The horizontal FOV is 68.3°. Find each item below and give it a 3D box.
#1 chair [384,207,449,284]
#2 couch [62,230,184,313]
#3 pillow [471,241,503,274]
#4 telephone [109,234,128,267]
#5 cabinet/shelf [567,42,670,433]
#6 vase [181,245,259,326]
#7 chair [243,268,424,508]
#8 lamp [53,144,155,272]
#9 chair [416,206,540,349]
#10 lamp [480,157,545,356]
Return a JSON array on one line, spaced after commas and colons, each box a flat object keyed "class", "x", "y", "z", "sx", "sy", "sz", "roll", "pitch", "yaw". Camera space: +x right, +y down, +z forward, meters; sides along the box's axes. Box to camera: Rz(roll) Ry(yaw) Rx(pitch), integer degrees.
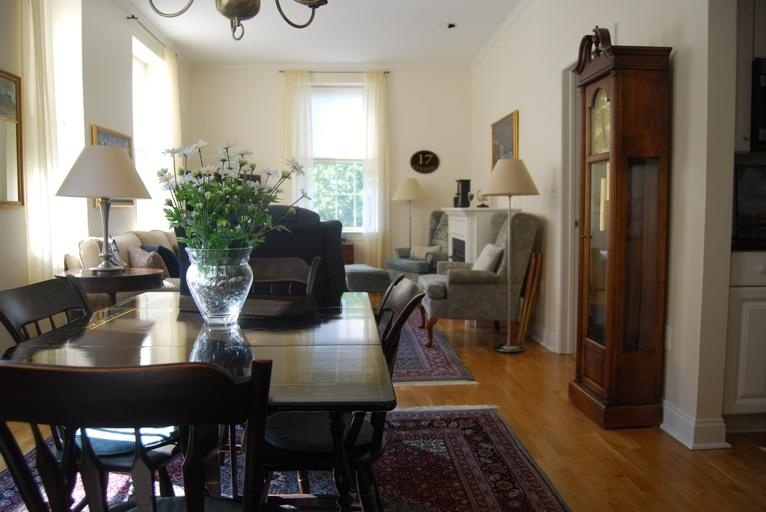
[{"class": "chair", "x": 0.552, "y": -0.150, "z": 7.734, "sx": 0.983, "sy": 1.154, "sz": 0.811, "roll": 2, "pitch": -1, "yaw": -31}, {"class": "couch", "x": -2.472, "y": 0.250, "z": 5.470, "sx": 0.832, "sy": 0.552, "sz": 0.891, "roll": -5, "pitch": 14, "yaw": -31}, {"class": "pillow", "x": 1.062, "y": 0.016, "z": 5.534, "sx": 0.094, "sy": 0.243, "sz": 0.342, "roll": 25, "pitch": -28, "yaw": -11}, {"class": "telephone", "x": -2.437, "y": -0.043, "z": 5.203, "sx": 0.132, "sy": 0.109, "sz": 0.399, "roll": 3, "pitch": 31, "yaw": -26}, {"class": "cabinet/shelf", "x": 1.575, "y": -0.182, "z": 3.714, "sx": 0.529, "sy": 2.510, "sz": 0.689, "roll": 1, "pitch": 11, "yaw": 6}, {"class": "vase", "x": -0.805, "y": 0.151, "z": 2.815, "sx": 0.317, "sy": 0.373, "sz": 0.316, "roll": -3, "pitch": 0, "yaw": -5}, {"class": "chair", "x": -0.017, "y": 0.636, "z": 3.099, "sx": 1.078, "sy": 1.487, "sz": 0.830, "roll": 1, "pitch": -2, "yaw": 1}, {"class": "lamp", "x": -2.167, "y": -0.371, "z": 4.451, "sx": 0.475, "sy": 0.994, "sz": 0.512, "roll": 2, "pitch": 12, "yaw": 14}, {"class": "chair", "x": 1.040, "y": 0.163, "z": 6.056, "sx": 1.352, "sy": 1.591, "sz": 1.175, "roll": 1, "pitch": 0, "yaw": 2}, {"class": "lamp", "x": 1.115, "y": -0.244, "z": 5.064, "sx": 0.313, "sy": 0.980, "sz": 0.310, "roll": -14, "pitch": -20, "yaw": 31}]
